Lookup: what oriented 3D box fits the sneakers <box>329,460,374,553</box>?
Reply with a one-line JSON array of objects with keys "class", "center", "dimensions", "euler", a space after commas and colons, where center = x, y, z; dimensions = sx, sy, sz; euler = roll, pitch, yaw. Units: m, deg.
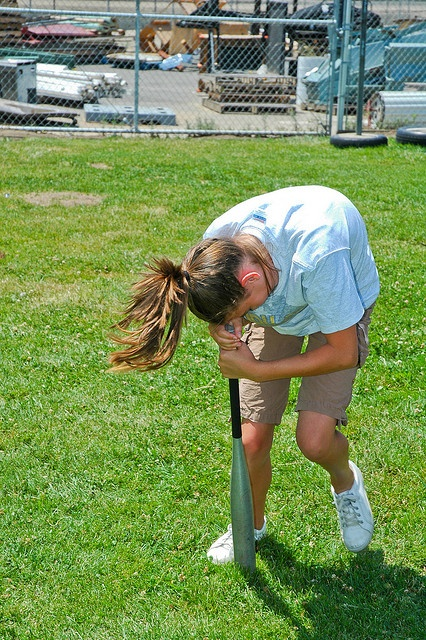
[{"class": "sneakers", "center": [0.573, 0.722, 3.014], "dimensions": [0.141, 0.390, 0.164], "euler": [-19, -46, 24]}]

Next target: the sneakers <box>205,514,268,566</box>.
[{"class": "sneakers", "center": [0.106, 0.876, 3.039], "dimensions": [0.101, 0.095, 0.284], "euler": [24, 29, 33]}]

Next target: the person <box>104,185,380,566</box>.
[{"class": "person", "center": [0.162, 0.245, 2.739], "dimensions": [1.071, 1.465, 0.537], "euler": [1, 12, -7]}]
